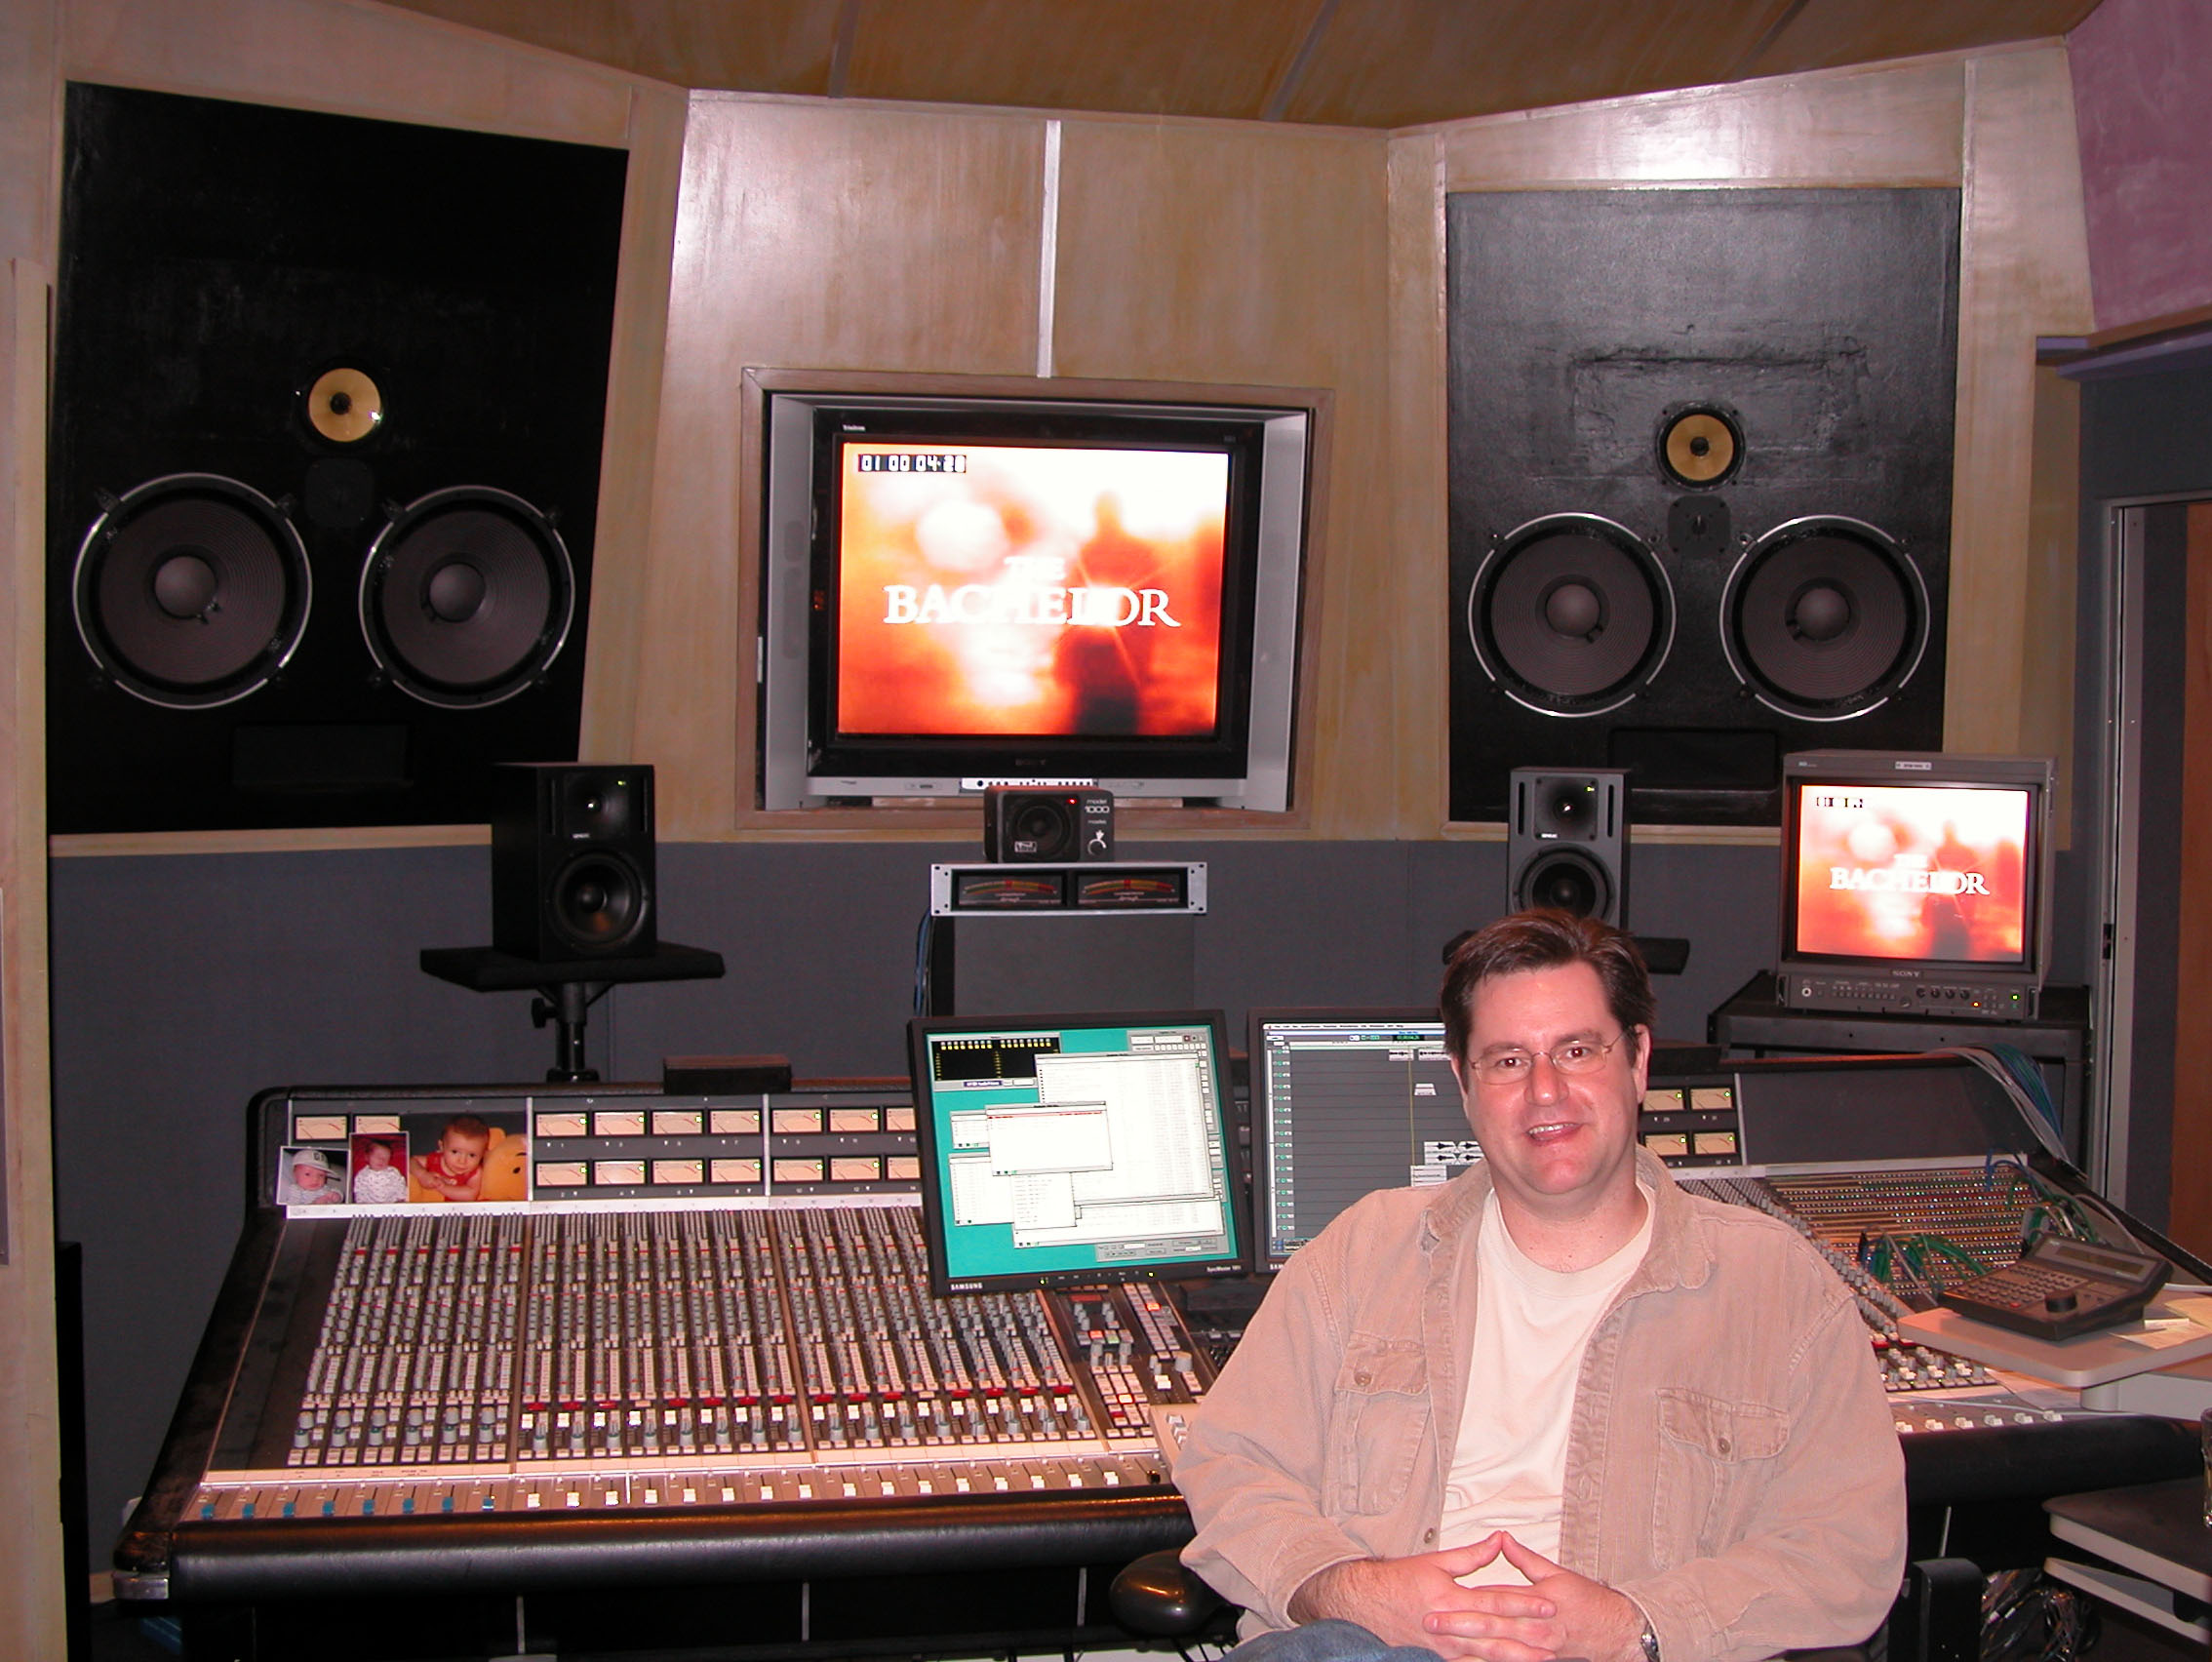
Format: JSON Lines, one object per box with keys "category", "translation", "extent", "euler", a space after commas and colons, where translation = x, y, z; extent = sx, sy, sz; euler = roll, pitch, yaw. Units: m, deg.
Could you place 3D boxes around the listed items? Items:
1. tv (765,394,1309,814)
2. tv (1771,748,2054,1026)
{"category": "tv", "translation": [-0.240, -0.618, 4.852], "extent": [1.041, 0.789, 0.139], "euler": [1, 5, -8]}
{"category": "tv", "translation": [1.722, 0.115, 4.145], "extent": [0.526, 0.564, 0.555], "euler": [1, -1, 20]}
